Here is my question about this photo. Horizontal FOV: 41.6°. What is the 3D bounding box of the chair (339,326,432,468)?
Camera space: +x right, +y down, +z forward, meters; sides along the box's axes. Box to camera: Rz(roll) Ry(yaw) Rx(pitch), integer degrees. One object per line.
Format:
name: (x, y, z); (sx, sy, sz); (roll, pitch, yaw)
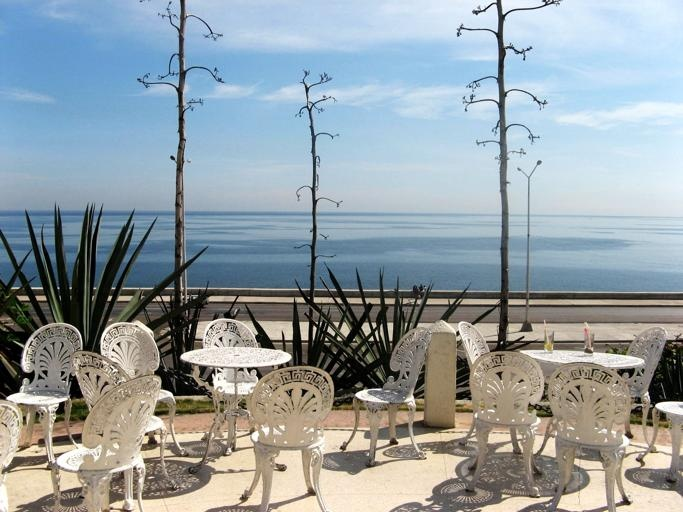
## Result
chair: (0.556, 1.602, 10.919); (1.040, 1.460, 1.553); (-1, 1, 5)
